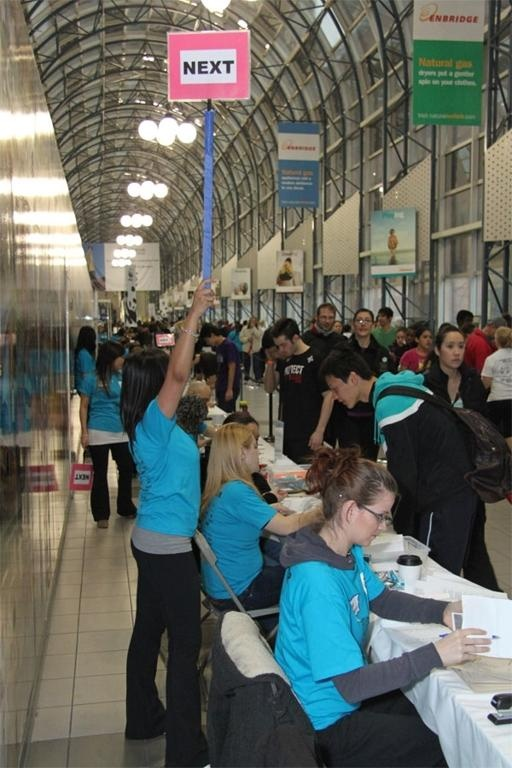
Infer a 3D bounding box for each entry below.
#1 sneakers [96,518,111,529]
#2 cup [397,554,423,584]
[{"bbox_3d":[-1.469,1.347,5.582,0.061,0.074,0.176,0,-7,-10],"label":"sneakers"},{"bbox_3d":[0.527,0.638,2.020,0.076,0.082,0.081,-1,12,0],"label":"cup"}]
